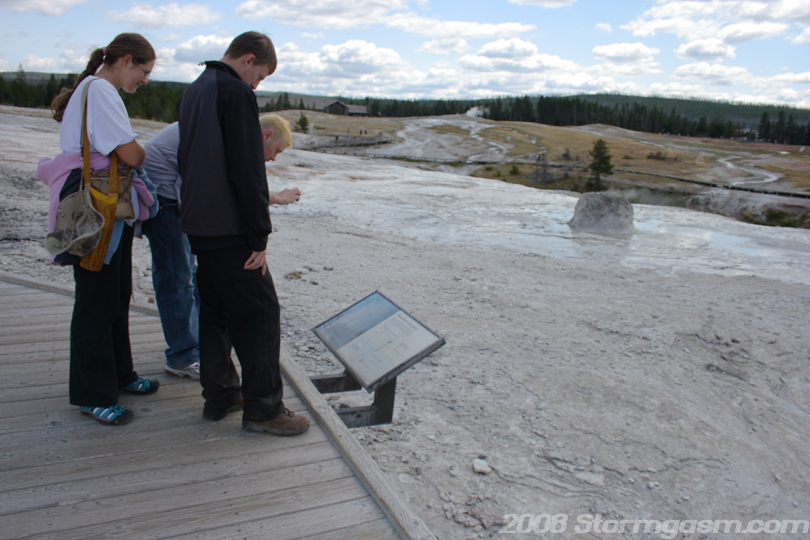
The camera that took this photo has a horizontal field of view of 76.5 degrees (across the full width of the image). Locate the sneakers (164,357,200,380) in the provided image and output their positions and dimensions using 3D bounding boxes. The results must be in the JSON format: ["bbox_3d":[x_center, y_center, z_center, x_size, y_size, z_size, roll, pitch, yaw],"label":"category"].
[{"bbox_3d":[-2.089,0.959,4.885,0.438,0.169,0.147,4,3,-6],"label":"sneakers"}]

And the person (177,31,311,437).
[{"bbox_3d":[-1.321,-0.253,4.141,0.848,3.230,1.042,-5,20,-23],"label":"person"}]

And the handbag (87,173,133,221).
[{"bbox_3d":[-2.421,-0.592,4.175,0.423,0.416,0.230,1,22,1],"label":"handbag"}]

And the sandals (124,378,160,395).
[{"bbox_3d":[-2.368,1.060,4.615,0.325,0.130,0.114,-9,28,-5],"label":"sandals"}]

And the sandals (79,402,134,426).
[{"bbox_3d":[-2.496,1.197,4.301,0.394,0.132,0.187,4,14,-2],"label":"sandals"}]

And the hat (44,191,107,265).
[{"bbox_3d":[-2.665,-0.351,4.130,0.400,0.589,0.356,-8,20,-31],"label":"hat"}]
